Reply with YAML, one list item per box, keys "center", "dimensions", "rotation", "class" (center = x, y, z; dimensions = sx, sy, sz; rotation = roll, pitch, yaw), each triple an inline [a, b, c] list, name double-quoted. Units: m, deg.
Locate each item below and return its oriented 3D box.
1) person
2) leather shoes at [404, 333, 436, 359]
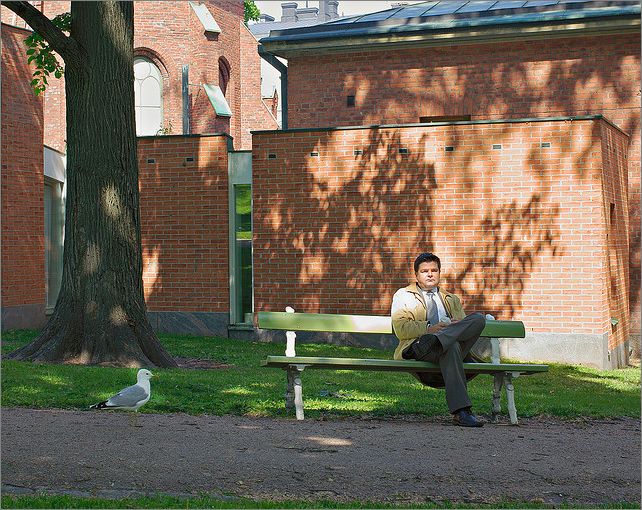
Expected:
- center: [1.475, 1.036, 12.076]
  dimensions: [1.112, 2.210, 1.329]
  rotation: [1, -11, -14]
  class: "person"
- center: [1.235, 1.130, 11.821]
  dimensions: [0.358, 0.155, 0.264]
  rotation: [-38, -6, 25]
  class: "leather shoes"
